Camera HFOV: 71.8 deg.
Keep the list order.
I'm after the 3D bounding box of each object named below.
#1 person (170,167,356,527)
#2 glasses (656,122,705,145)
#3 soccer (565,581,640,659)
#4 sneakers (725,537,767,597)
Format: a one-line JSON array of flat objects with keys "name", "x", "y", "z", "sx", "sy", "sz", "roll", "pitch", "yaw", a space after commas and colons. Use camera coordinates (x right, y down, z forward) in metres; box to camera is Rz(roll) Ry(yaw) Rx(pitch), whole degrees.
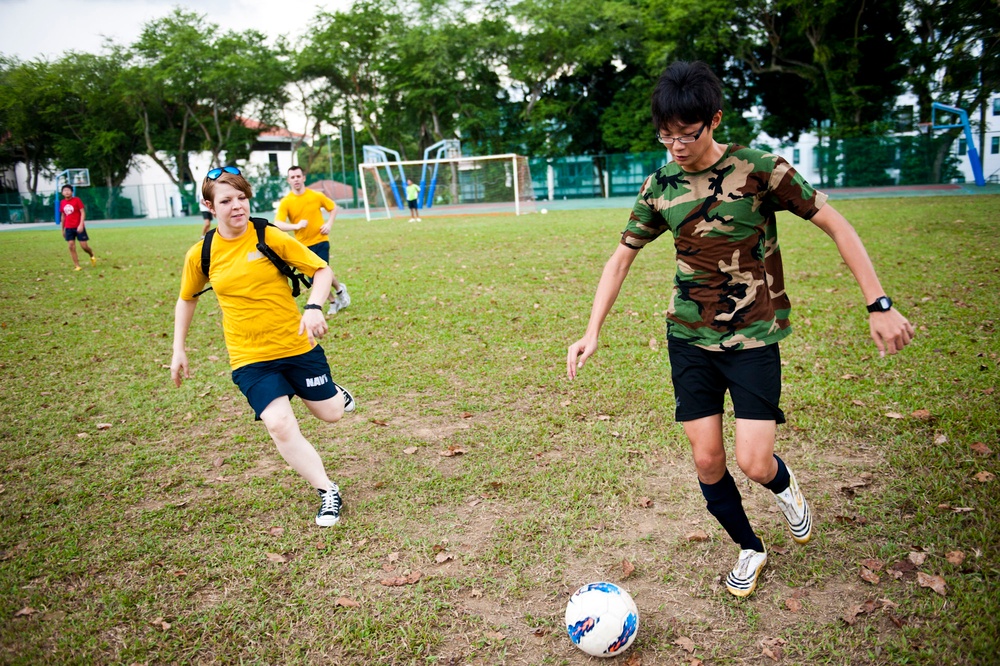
[{"name": "person", "x": -2.026, "y": 0.130, "z": 5.836, "sx": 1.330, "sy": 3.035, "sz": 0.777, "roll": -6, "pitch": 13, "yaw": -5}, {"name": "glasses", "x": 1.266, "y": -1.344, "z": 4.674, "sx": 0.277, "sy": 0.124, "sz": 0.057, "roll": -1, "pitch": 13, "yaw": 15}, {"name": "soccer", "x": 0.753, "y": 1.962, "z": 4.894, "sx": 0.470, "sy": 0.443, "sz": 0.487, "roll": -10, "pitch": 13, "yaw": 25}, {"name": "sneakers", "x": 1.832, "y": 1.702, "z": 5.089, "sx": 0.436, "sy": 0.182, "sz": 0.177, "roll": -40, "pitch": 25, "yaw": -31}]
